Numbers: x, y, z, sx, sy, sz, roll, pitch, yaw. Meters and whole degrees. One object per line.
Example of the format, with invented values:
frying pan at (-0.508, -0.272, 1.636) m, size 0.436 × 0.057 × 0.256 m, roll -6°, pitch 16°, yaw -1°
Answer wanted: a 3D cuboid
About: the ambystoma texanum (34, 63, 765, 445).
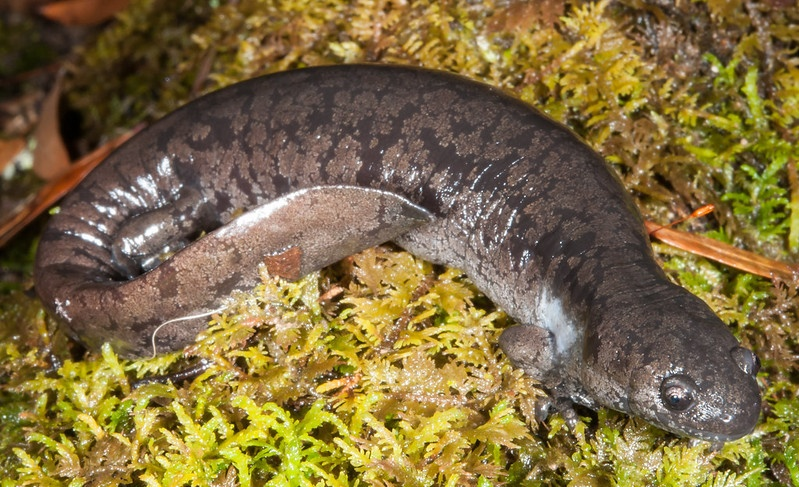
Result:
ambystoma texanum at (0.150, -0.055, 5.489) m, size 4.164 × 0.972 × 2.775 m, roll 40°, pitch 77°, yaw 18°
